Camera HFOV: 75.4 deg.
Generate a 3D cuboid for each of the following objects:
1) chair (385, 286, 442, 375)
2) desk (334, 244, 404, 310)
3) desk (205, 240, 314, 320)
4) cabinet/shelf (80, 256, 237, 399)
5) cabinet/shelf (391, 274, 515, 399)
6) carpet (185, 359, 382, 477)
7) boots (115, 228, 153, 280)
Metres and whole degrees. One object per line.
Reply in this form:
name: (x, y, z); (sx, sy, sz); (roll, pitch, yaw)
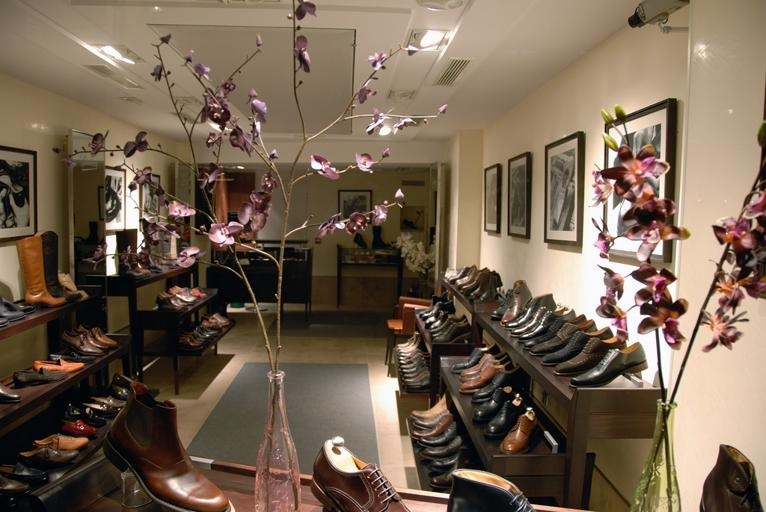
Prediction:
chair: (0.257, 0.827, 5.842); (0.720, 1.065, 0.853); (1, 2, -1)
desk: (-0.236, 0.304, 8.536); (1.069, 1.104, 0.365); (1, 2, 0)
desk: (-1.934, 0.353, 7.670); (1.604, 1.115, 0.880); (4, -4, -15)
cabinet/shelf: (-2.304, 0.242, 5.465); (1.210, 1.359, 2.292); (0, 7, -5)
cabinet/shelf: (0.551, 0.659, 4.475); (1.131, 0.596, 0.851); (0, 6, 2)
carpet: (-0.781, 1.412, 4.358); (1.223, 0.052, 1.449); (2, 7, 2)
boots: (-2.064, -0.002, 4.059); (0.203, 0.521, 0.537); (0, 1, -2)
